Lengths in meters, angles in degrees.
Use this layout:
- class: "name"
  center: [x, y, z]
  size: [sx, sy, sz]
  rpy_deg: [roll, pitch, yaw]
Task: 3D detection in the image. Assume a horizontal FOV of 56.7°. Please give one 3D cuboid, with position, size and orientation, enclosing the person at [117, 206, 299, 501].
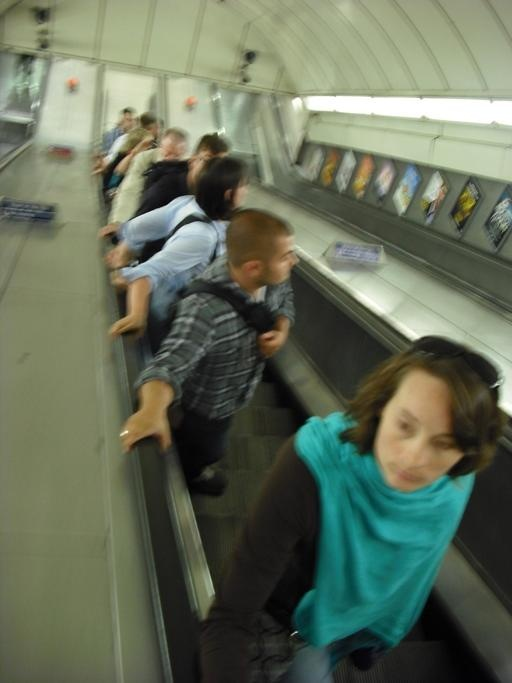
- class: "person"
  center: [-0.185, 0.020, 1.598]
  size: [0.267, 0.897, 0.947]
  rpy_deg: [26, 53, 3]

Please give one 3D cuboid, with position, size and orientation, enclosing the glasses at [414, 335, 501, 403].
- class: "glasses"
  center: [0.303, 0.057, 0.730]
  size: [0.095, 0.096, 0.029]
  rpy_deg: [26, 73, 34]
